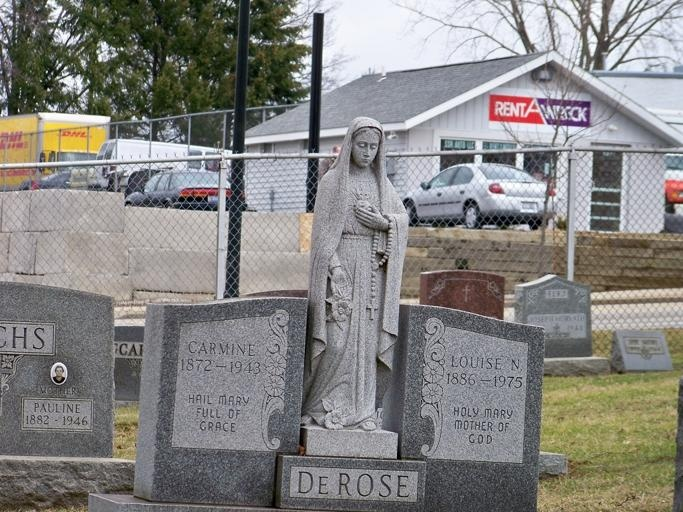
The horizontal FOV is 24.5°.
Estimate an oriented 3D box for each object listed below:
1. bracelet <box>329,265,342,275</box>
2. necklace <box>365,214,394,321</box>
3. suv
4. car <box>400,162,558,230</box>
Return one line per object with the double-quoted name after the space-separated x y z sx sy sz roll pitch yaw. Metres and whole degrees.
-0.110 0.231 23.084 0.117 0.109 0.135 -1 2 10 "bracelet"
0.508 0.211 23.346 0.245 1.615 0.129 -1 33 -13 "necklace"
-3.617 -1.390 34.373 1.268 1.063 2.789 -1 7 -35 "suv"
2.884 -1.191 34.254 1.463 1.264 3.353 -1 6 -30 "car"
